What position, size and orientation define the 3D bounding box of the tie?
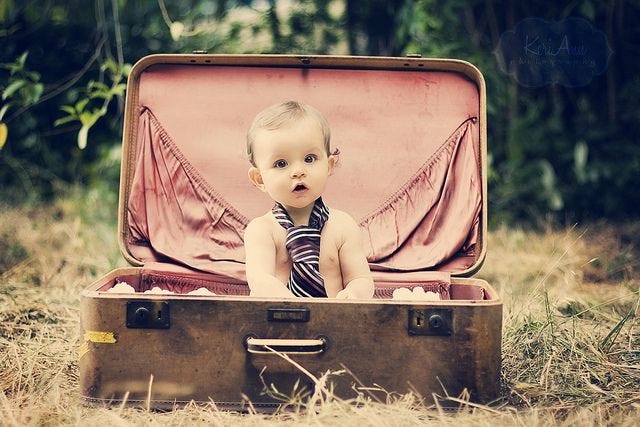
[{"bbox_3d":[-0.088,0.175,4.272,0.280,0.476,0.239,-3,5,0],"label":"tie"}]
